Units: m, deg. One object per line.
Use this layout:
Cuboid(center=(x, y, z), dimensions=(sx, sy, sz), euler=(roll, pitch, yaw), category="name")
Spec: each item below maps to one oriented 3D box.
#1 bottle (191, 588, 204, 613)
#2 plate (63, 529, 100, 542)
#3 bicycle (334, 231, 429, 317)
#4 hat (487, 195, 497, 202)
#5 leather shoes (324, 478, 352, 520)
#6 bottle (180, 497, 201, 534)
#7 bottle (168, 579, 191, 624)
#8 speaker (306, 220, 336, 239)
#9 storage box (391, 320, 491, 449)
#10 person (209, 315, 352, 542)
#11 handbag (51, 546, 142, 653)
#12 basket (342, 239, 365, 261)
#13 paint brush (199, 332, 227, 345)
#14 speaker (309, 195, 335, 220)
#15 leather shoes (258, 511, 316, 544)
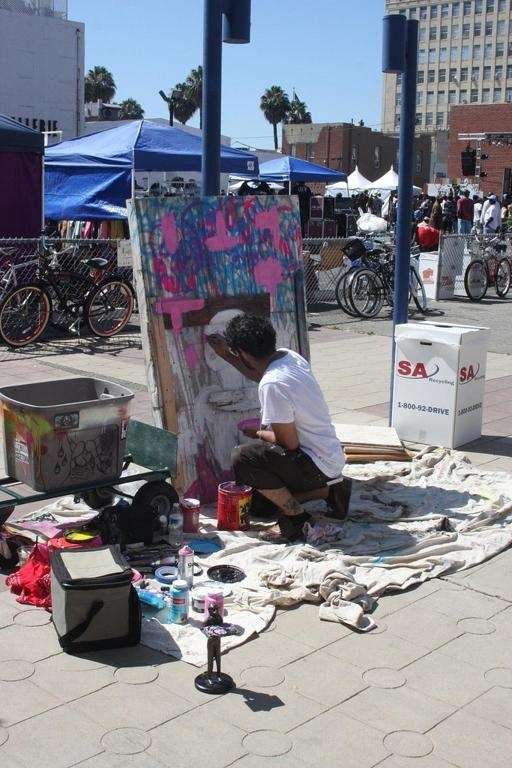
Cuboid(center=(-0.275, 0.991, 3.228), dimensions=(0.071, 0.060, 0.070), euler=(-1, 12, -14), category="bottle")
Cuboid(center=(-0.872, 0.753, 3.466), dimensions=(0.155, 0.038, 0.169), euler=(4, 7, 15), category="plate")
Cuboid(center=(2.278, -2.075, 13.683), dimensions=(1.581, 1.631, 1.575), euler=(-2, 8, -31), category="bicycle")
Cuboid(center=(6.642, -5.256, 19.778), dimensions=(0.175, 0.254, 0.148), euler=(4, -34, 9), category="hat")
Cuboid(center=(0.527, 0.725, 4.430), dimensions=(0.120, 0.285, 0.130), euler=(-3, 32, 2), category="leather shoes")
Cuboid(center=(-0.396, 0.775, 4.146), dimensions=(0.122, 0.179, 0.091), euler=(9, 10, 42), category="bottle")
Cuboid(center=(-0.345, 0.952, 3.125), dimensions=(0.087, 0.192, 0.123), euler=(1, 7, -7), category="bottle")
Cuboid(center=(1.770, -4.374, 19.674), dimensions=(0.634, 0.603, 1.241), euler=(5, 8, 22), category="speaker")
Cuboid(center=(1.611, -0.019, 6.175), dimensions=(0.574, 0.926, 0.699), euler=(-9, 14, -42), category="storage box")
Cuboid(center=(0.148, 0.246, 4.211), dimensions=(0.790, 1.311, 0.769), euler=(4, 8, 15), category="person")
Cuboid(center=(-0.679, 0.893, 2.957), dimensions=(0.352, 0.313, 0.408), euler=(0, 8, -18), category="handbag")
Cuboid(center=(1.848, -2.585, 13.389), dimensions=(0.418, 0.416, 0.151), euler=(-32, 5, -5), category="basket")
Cuboid(center=(-0.285, -0.298, 4.630), dimensions=(0.199, 0.100, 0.092), euler=(-3, 2, 15), category="paint brush")
Cuboid(center=(1.912, -5.168, 20.681), dimensions=(0.665, 0.844, 1.214), euler=(9, 15, 31), category="speaker")
Cuboid(center=(0.208, 0.868, 4.174), dimensions=(0.370, 0.257, 0.124), euler=(-4, -31, 3), category="leather shoes")
